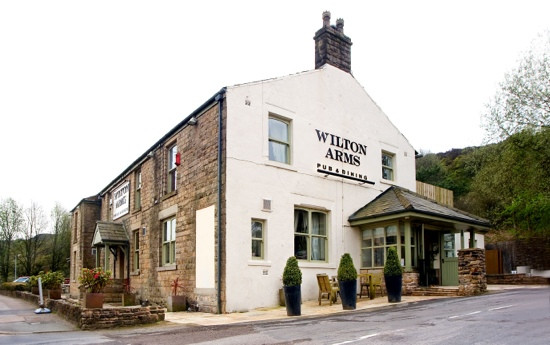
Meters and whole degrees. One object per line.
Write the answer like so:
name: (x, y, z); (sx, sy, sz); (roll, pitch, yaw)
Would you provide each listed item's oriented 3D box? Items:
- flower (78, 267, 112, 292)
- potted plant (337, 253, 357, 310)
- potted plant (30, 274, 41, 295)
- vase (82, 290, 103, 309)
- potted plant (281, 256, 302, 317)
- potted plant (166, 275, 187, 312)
flower: (-8.241, 4.965, 23.063); (0.826, 0.965, 0.965); (-3, -17, -7)
potted plant: (3.270, 4.965, 23.065); (0.797, 2.514, 0.661); (-2, -17, -2)
potted plant: (-15.466, 7.241, 32.897); (0.522, 1.416, 2.277); (6, -21, -25)
vase: (-7.820, 5.534, 22.017); (0.753, 0.759, 0.966); (4, -20, -20)
potted plant: (0.777, 5.039, 22.556); (0.786, 2.606, 0.431); (1, -17, -11)
potted plant: (-4.994, 6.093, 25.543); (0.906, 1.862, 1.164); (12, -22, -38)
